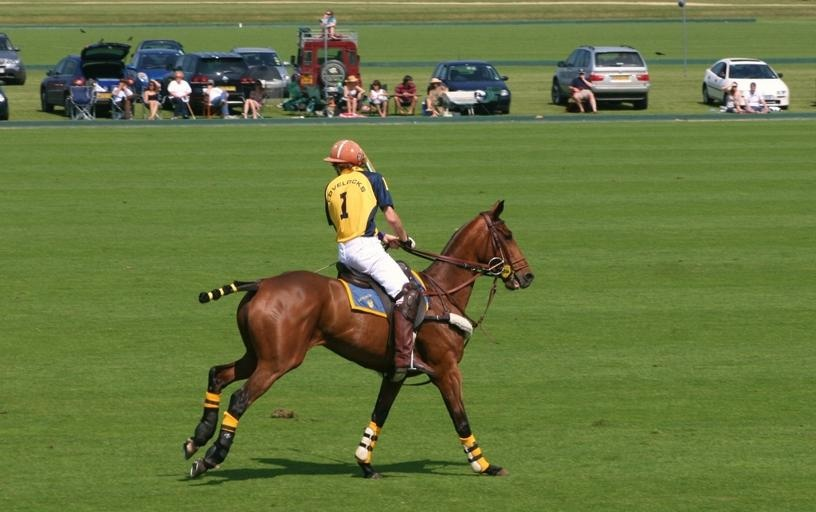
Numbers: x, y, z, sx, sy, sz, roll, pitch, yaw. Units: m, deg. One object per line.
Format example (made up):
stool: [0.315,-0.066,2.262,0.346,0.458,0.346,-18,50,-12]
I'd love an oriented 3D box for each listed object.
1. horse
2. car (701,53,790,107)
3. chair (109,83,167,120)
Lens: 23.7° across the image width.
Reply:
horse: [-1.321,1.932,43.333,9.664,6.163,2.109,1,0,-38]
car: [10.786,-5.807,62.923,2.395,1.811,4.418,1,0,-9]
chair: [-8.721,-4.974,61.338,1.978,1.485,0.950,1,-1,-16]
